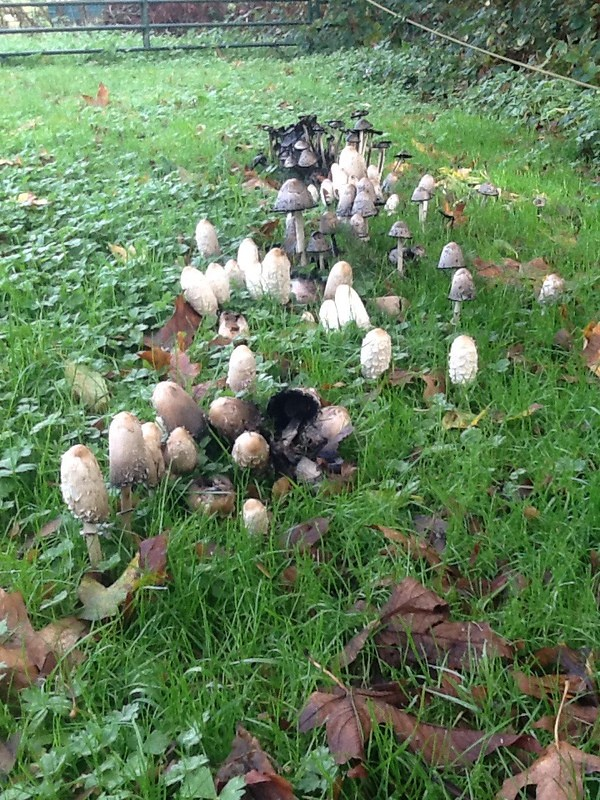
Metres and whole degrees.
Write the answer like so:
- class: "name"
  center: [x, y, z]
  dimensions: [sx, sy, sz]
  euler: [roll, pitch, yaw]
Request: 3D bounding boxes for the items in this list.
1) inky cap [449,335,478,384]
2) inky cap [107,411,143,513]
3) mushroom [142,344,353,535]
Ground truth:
- class: "inky cap"
  center: [0.655, -0.160, 2.762]
  dimensions: [0.117, 0.225, 0.160]
  euler: [5, 28, 13]
- class: "inky cap"
  center: [-0.474, 0.183, 1.889]
  dimensions: [0.091, 0.324, 0.100]
  euler: [9, 23, 14]
- class: "mushroom"
  center: [-0.072, 0.121, 2.309]
  dimensions: [0.500, 0.246, 0.349]
  euler: [-8, 28, -13]
